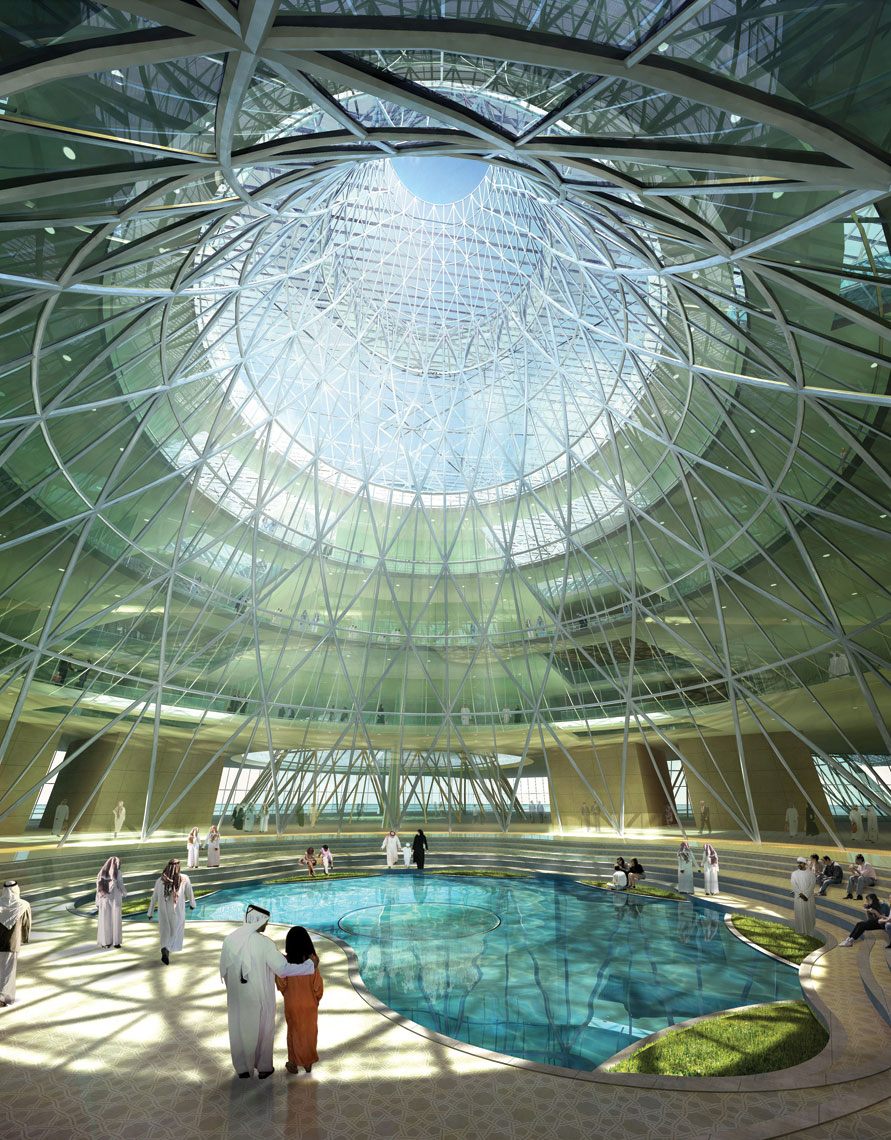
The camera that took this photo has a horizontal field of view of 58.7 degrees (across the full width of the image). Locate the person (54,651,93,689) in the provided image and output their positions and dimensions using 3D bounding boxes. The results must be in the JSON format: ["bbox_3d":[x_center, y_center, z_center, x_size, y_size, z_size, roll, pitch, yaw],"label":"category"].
[{"bbox_3d":[-15.587,4.207,32.922,0.339,1.266,1.420,11,1,41],"label":"person"}]

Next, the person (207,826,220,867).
[{"bbox_3d":[-9.582,11.302,32.544,0.452,1.631,1.321,5,-27,-18],"label":"person"}]

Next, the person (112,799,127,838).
[{"bbox_3d":[-16.494,12.394,39.722,0.653,1.688,0.995,3,-27,-14],"label":"person"}]

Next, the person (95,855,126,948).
[{"bbox_3d":[-7.635,7.454,17.964,0.621,1.978,1.245,6,-27,-20],"label":"person"}]

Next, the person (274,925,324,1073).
[{"bbox_3d":[-2.016,5.767,10.730,0.569,1.765,0.584,1,-26,-10],"label":"person"}]
